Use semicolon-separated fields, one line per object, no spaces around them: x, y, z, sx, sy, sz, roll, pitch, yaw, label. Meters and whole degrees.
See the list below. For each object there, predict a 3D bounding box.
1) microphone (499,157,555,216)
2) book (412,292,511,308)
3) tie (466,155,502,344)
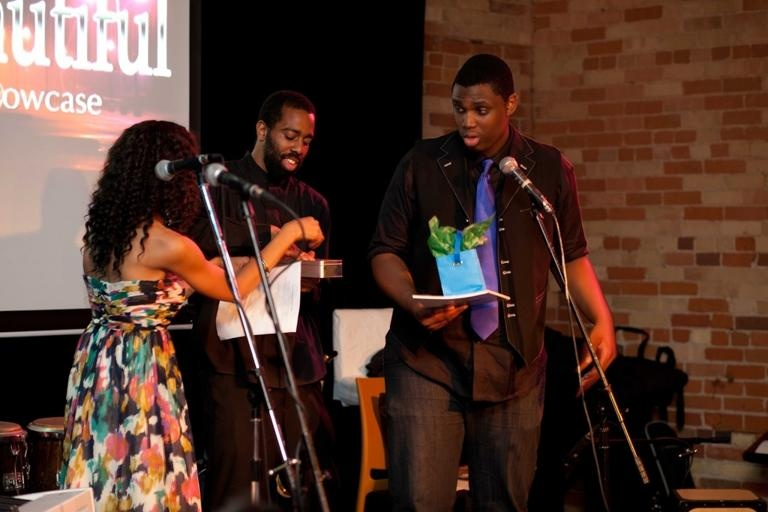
0.618;-0.313;3.295;0.230;0.248;0.229;1;3;11;microphone
0.312;0.180;3.080;0.297;0.033;0.272;6;-8;-29;book
0.438;-0.034;3.278;0.128;0.789;0.212;1;3;7;tie
